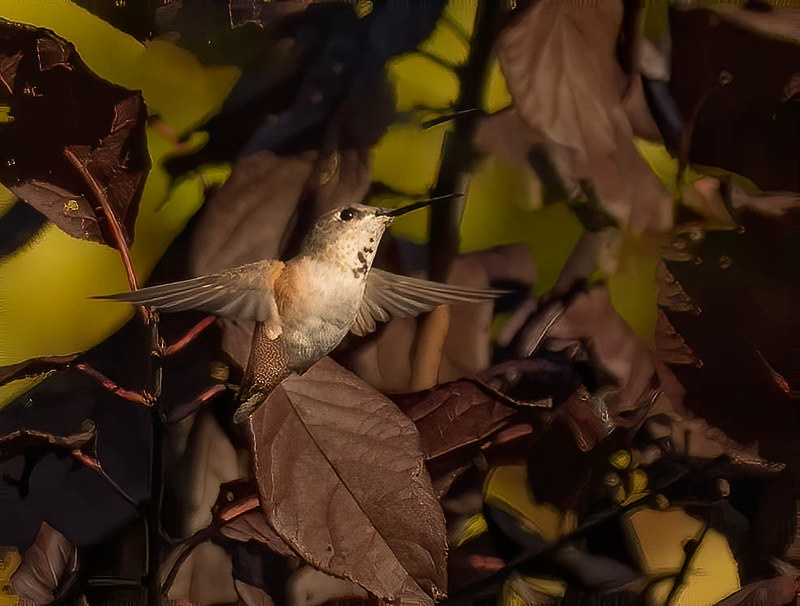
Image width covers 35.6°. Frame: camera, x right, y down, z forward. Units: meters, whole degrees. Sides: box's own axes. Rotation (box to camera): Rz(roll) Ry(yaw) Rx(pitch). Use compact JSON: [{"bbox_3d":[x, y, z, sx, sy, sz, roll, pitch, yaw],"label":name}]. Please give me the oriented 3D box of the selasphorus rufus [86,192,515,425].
[{"bbox_3d":[-0.116,0.001,1.499,0.366,0.197,0.301,-8,-13,2],"label":"selasphorus rufus"}]
